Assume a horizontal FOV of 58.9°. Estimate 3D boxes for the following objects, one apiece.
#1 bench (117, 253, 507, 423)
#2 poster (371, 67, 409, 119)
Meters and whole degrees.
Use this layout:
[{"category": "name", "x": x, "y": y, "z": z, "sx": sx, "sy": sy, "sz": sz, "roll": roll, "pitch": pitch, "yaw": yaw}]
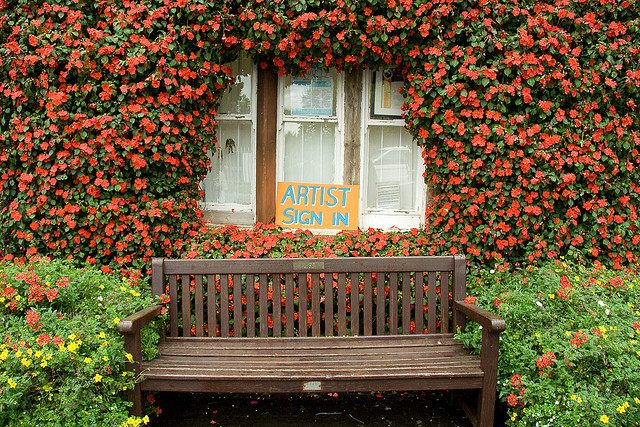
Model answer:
[{"category": "bench", "x": -0.077, "y": 1.104, "z": 5.211, "sx": 3.248, "sy": 1.293, "sz": 0.814, "roll": 0, "pitch": 13, "yaw": -1}, {"category": "poster", "x": 0.832, "y": -1.441, "z": 6.635, "sx": 0.599, "sy": 0.908, "sz": 0.089, "roll": 1, "pitch": 7, "yaw": 2}]
